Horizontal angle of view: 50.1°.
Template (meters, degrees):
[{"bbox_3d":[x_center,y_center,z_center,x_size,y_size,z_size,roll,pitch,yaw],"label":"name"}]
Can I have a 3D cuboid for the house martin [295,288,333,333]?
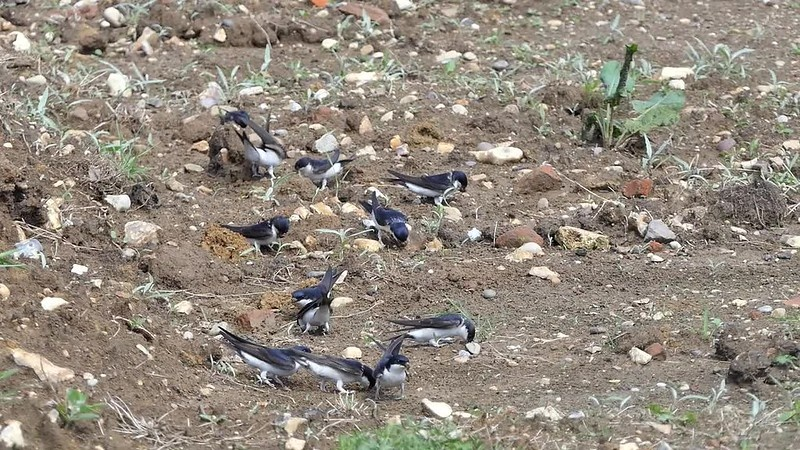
[{"bbox_3d":[-1.007,0.995,9.808,0.423,0.675,0.435,-2,65,-2],"label":"house martin"}]

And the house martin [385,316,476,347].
[{"bbox_3d":[0.335,1.185,9.724,0.951,0.354,0.318,10,71,3],"label":"house martin"}]

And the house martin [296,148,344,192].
[{"bbox_3d":[-1.050,-0.783,11.471,0.545,0.375,0.474,-38,70,-18],"label":"house martin"}]

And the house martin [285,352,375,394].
[{"bbox_3d":[-0.896,1.533,9.225,1.156,0.342,0.342,17,85,-7],"label":"house martin"}]

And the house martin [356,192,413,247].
[{"bbox_3d":[-0.124,-0.101,10.928,0.378,0.418,0.889,-17,70,-39],"label":"house martin"}]

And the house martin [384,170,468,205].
[{"bbox_3d":[0.376,-0.594,11.397,0.827,0.365,0.525,31,66,14],"label":"house martin"}]
